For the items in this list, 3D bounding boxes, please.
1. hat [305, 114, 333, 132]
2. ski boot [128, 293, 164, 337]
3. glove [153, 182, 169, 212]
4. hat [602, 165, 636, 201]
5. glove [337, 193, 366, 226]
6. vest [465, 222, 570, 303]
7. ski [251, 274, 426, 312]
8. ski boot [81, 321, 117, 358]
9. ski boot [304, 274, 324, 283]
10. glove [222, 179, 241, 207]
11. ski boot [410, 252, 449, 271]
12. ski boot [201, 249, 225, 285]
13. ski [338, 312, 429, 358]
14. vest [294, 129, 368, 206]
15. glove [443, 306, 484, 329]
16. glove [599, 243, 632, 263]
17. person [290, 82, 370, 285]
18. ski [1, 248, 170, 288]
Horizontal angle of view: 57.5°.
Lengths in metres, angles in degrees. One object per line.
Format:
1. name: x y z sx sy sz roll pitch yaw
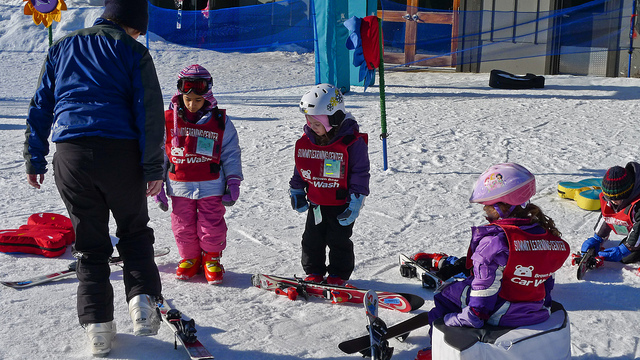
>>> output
1. hat: -0.032 -0.714 6.864 0.267 0.249 0.194 -28 20 -22
2. ski boot: -1.816 1.425 6.088 0.329 0.466 0.297 -4 13 -17
3. glove: -1.921 0.203 7.044 0.139 0.406 0.175 -4 9 20
4. hat: 3.707 0.067 7.205 0.334 0.381 0.442 -25 16 36
5. glove: 0.383 0.360 6.833 0.143 0.409 0.238 35 -6 -34
6. vest: 2.093 0.904 6.202 1.063 0.838 0.800 3 -3 -5
7. ski: 0.168 1.352 6.807 1.938 0.200 0.203 6 0 16
8. ski boot: -2.266 1.659 6.140 0.191 0.330 0.520 -1 17 -11
9. ski boot: -0.064 1.196 6.994 0.229 0.111 0.079 3 2 -23
10. glove: -1.078 0.160 7.005 0.240 0.305 0.145 22 16 39
11. ski boot: 1.406 1.010 7.275 0.236 0.129 0.332 8 4 38
12. ski boot: -1.320 1.067 7.114 0.225 0.367 0.316 -4 13 -15
13. ski: 0.695 1.710 6.304 0.951 0.184 0.154 -20 -27 -17
14. vest: 0.203 -0.190 7.073 0.645 0.973 1.082 -14 18 -39
15. glove: 1.476 1.429 5.916 0.343 0.201 0.135 -2 2 10
16. glove: 3.715 0.932 7.306 0.294 0.116 0.217 -17 30 3
17. person: 0.109 0.078 6.868 0.931 2.373 0.494 -1 13 -2
18. ski: -2.704 1.033 6.663 1.799 0.133 0.183 -13 25 -26
